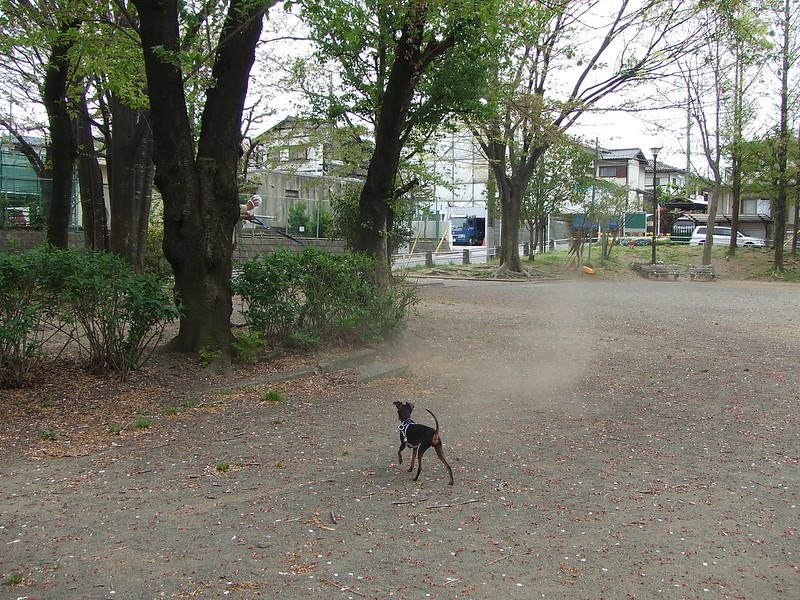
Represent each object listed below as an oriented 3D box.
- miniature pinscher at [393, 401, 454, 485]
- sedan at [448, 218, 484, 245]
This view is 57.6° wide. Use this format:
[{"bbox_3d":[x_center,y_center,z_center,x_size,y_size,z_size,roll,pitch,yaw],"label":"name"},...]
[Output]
[{"bbox_3d":[0.250,1.450,7.506,0.515,0.758,0.729,-2,6,-14],"label":"miniature pinscher"},{"bbox_3d":[5.643,-6.002,61.747,1.952,1.671,2.965,-2,-1,33],"label":"sedan"}]
